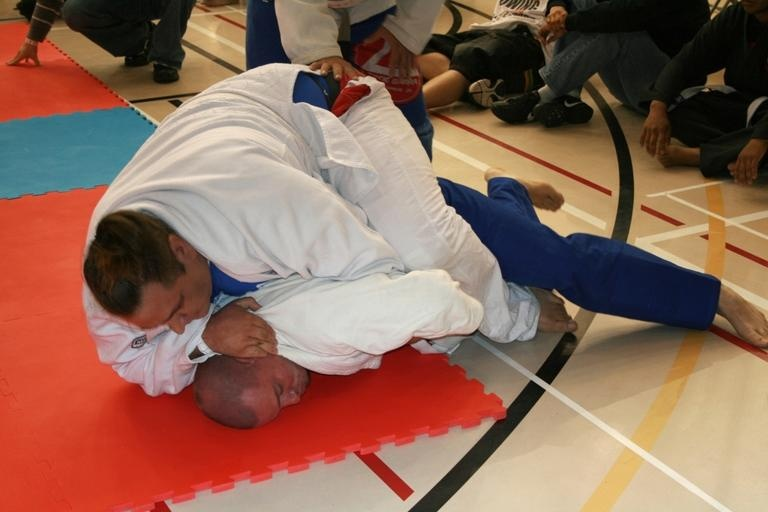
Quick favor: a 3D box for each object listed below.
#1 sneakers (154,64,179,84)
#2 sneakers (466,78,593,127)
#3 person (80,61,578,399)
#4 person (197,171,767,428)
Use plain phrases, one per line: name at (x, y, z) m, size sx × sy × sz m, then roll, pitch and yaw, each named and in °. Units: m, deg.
sneakers at (-1.610, -1.346, 4.287) m, size 0.104 × 0.094 × 0.226 m, roll -10°, pitch 21°, yaw -19°
sneakers at (0.972, -1.039, 3.947) m, size 0.683 × 0.288 × 0.230 m, roll 21°, pitch -4°, yaw -12°
person at (-0.159, -0.126, 2.116) m, size 1.619 × 0.892 × 1.056 m, roll -25°, pitch 37°, yaw -32°
person at (0.310, 0.230, 2.096) m, size 1.509 × 0.451 × 1.124 m, roll -26°, pitch 38°, yaw -19°
